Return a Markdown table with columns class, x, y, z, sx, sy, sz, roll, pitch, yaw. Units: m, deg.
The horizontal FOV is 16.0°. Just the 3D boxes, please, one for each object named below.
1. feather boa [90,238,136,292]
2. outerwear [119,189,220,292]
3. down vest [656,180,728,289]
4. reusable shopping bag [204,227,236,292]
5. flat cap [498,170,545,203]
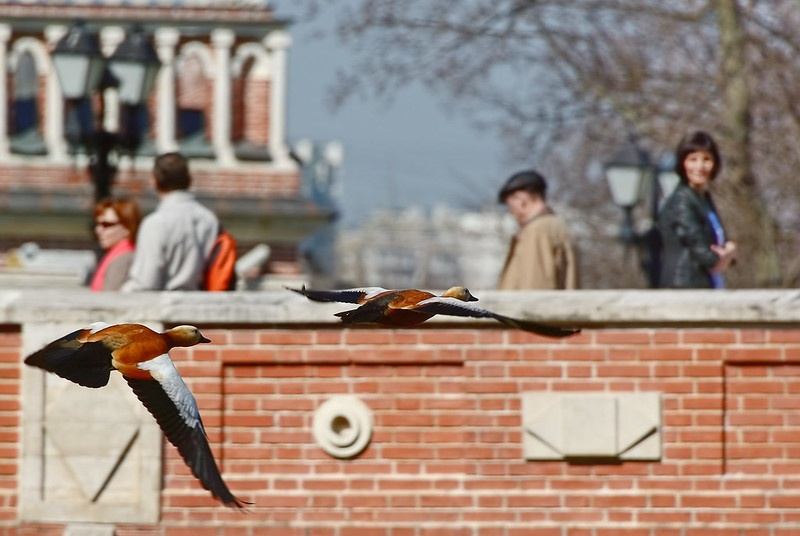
| class | x | y | z | sx | sy | sz | roll | pitch | yaw |
| --- | --- | --- | --- | --- | --- | --- | --- | --- | --- |
| feather boa | -2.219 | -0.017 | 21.402 | 0.300 | 0.407 | 0.195 | 53 | 10 | 36 |
| outerwear | -1.708 | -0.123 | 21.282 | 0.710 | 0.905 | 0.429 | -1 | -15 | 11 |
| down vest | 2.190 | -0.179 | 21.603 | 0.414 | 0.879 | 0.507 | 1 | -17 | -7 |
| reusable shopping bag | -1.363 | -0.046 | 21.375 | 0.153 | 0.409 | 0.304 | 12 | -8 | 18 |
| flat cap | 0.918 | -0.606 | 21.587 | 0.285 | 0.105 | 0.244 | -9 | -7 | 32 |
